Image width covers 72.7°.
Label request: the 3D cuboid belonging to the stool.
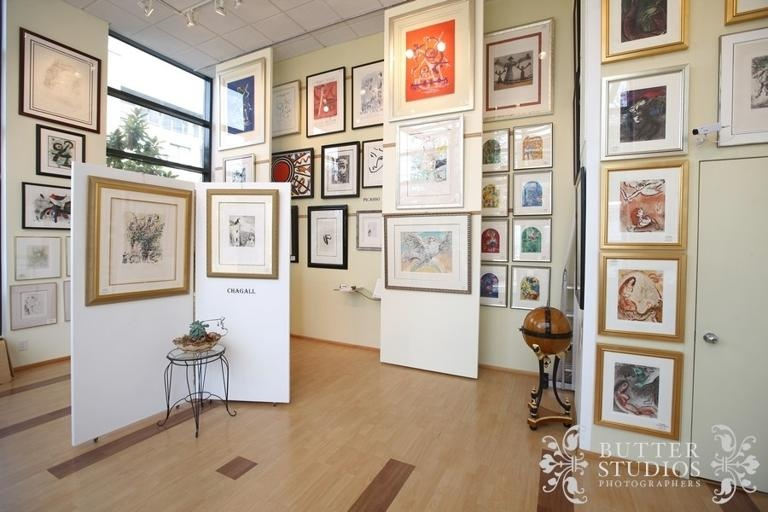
[{"bbox_3d":[-2.272,1.535,6.239,0.884,0.999,0.890,1,-3,-29],"label":"stool"}]

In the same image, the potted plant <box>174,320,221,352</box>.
[{"bbox_3d":[-2.112,0.933,6.033,0.347,0.232,0.406,0,-4,21],"label":"potted plant"}]

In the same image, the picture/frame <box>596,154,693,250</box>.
[{"bbox_3d":[2.759,-0.555,5.378,0.953,1.168,0.090,0,1,23],"label":"picture/frame"}]

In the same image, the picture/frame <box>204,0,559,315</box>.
[{"bbox_3d":[0.315,-1.202,7.729,4.660,4.650,0.992,0,1,34],"label":"picture/frame"}]
